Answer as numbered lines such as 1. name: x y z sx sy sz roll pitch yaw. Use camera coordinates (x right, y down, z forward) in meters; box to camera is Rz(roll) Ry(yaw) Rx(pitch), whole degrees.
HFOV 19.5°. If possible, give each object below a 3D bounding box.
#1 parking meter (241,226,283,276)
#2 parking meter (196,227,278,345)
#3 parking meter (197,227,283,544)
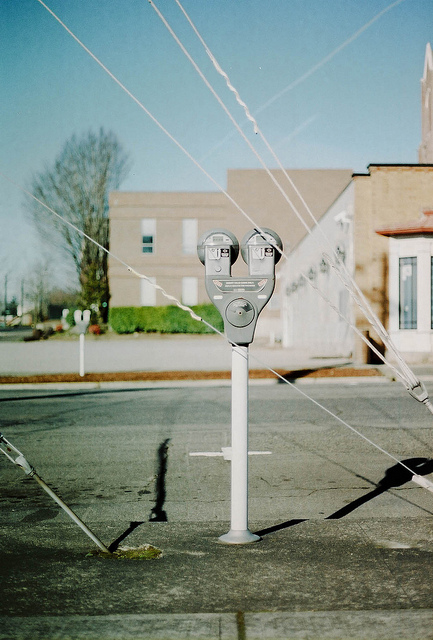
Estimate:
1. parking meter: 0.305 -0.459 8.597 0.282 0.387 0.205 1 7 12
2. parking meter: 0.132 -0.228 8.517 0.486 0.786 0.409 -1 2 -10
3. parking meter: 0.166 0.439 8.517 0.560 2.109 0.321 -1 2 -2
